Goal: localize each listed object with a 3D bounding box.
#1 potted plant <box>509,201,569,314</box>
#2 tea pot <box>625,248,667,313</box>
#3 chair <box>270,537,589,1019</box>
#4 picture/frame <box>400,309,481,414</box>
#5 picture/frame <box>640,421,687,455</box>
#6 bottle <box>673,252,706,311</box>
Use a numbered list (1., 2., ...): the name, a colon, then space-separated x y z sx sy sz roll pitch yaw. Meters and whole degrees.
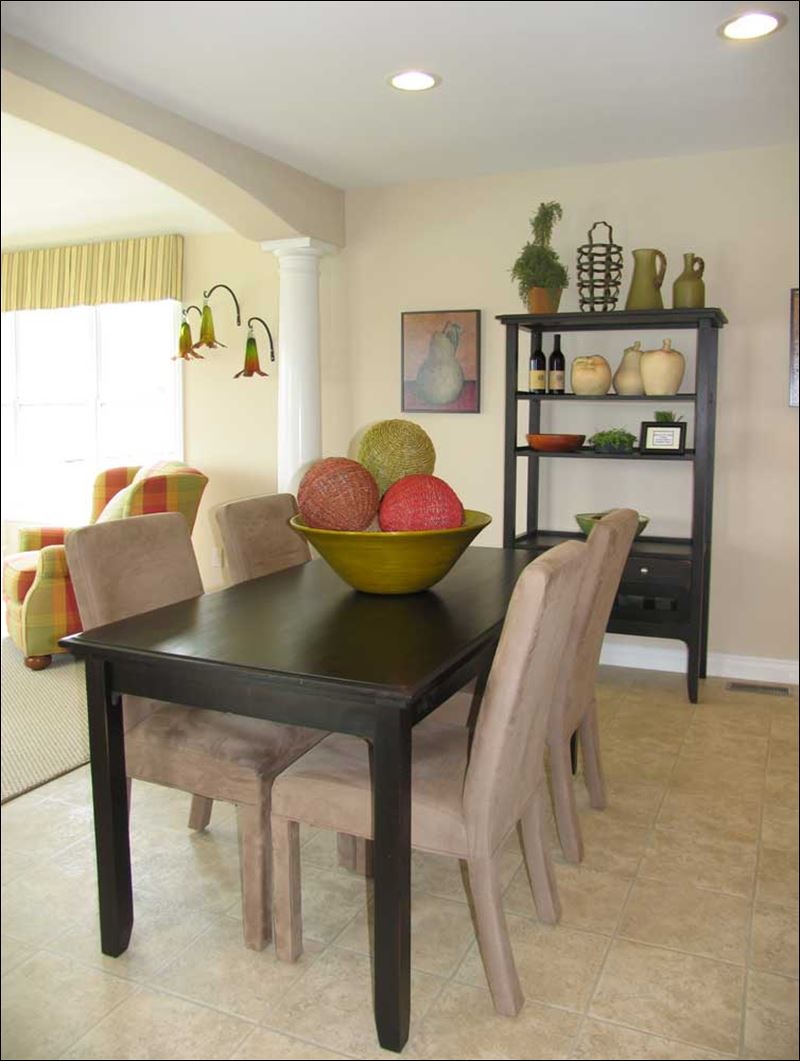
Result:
1. potted plant: 0.640 -1.249 3.745 0.239 0.578 0.427 1 5 7
2. tea pot: 1.075 -1.075 3.546 0.167 0.333 0.463 2 5 17
3. chair: 0.078 0.440 1.634 0.557 0.855 0.508 3 5 25
4. picture/frame: 0.228 -0.896 4.272 0.512 0.669 0.047 2 3 27
5. picture/frame: 1.127 -0.395 3.501 0.186 0.143 0.170 2 5 14
6. bottle: 1.233 -1.050 3.478 0.128 0.294 0.421 2 5 19
